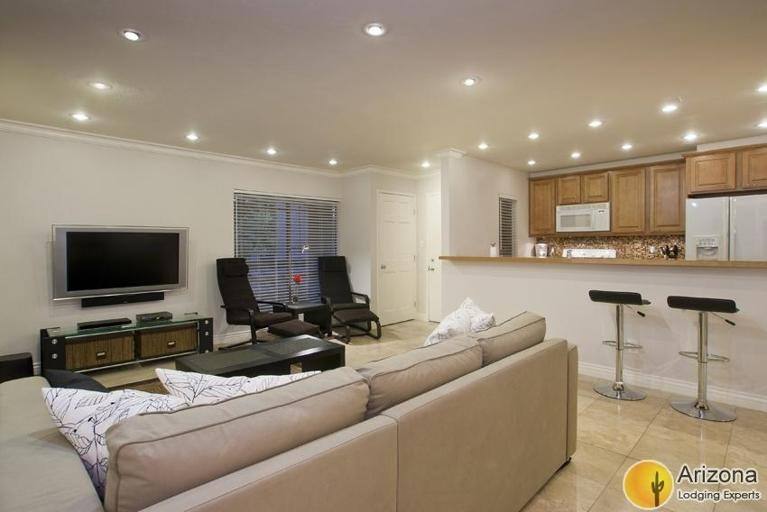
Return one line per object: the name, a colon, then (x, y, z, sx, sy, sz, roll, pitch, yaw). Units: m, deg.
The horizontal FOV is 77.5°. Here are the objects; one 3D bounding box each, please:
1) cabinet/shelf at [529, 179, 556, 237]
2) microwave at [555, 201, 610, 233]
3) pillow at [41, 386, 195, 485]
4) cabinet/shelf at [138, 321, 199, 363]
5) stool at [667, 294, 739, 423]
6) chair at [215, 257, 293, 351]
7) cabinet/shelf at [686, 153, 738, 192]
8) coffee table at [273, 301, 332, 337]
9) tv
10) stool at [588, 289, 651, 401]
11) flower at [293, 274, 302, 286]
cabinet/shelf: (2.628, -0.807, 8.183, 0.592, 0.949, 0.549, -1, 7, 13)
microwave: (3.239, -0.494, 7.557, 0.433, 0.433, 0.692, 2, -2, -40)
pillow: (-1.496, 0.971, 2.633, 0.705, 0.531, 0.225, -3, 2, 3)
cabinet/shelf: (-2.788, 1.076, 6.042, 0.428, 0.450, 0.734, 2, 1, 39)
stool: (3.000, 0.927, 4.495, 0.510, 1.135, 0.541, -2, 2, 35)
chair: (-1.789, 0.618, 6.541, 0.906, 1.173, 0.706, 3, 5, 28)
cabinet/shelf: (4.343, -1.065, 6.300, 0.610, 0.569, 0.453, -2, -8, 45)
coffee table: (-1.091, 0.870, 7.065, 0.551, 0.461, 0.545, 4, 6, 35)
tv: (-3.239, 0.052, 5.988, 1.480, 0.904, 0.109, -2, 14, -37)
stool: (2.436, 0.876, 4.900, 0.525, 1.088, 0.517, -2, 2, 28)
flower: (-1.341, 0.365, 7.381, 0.154, 0.160, 0.163, 5, 2, 29)
